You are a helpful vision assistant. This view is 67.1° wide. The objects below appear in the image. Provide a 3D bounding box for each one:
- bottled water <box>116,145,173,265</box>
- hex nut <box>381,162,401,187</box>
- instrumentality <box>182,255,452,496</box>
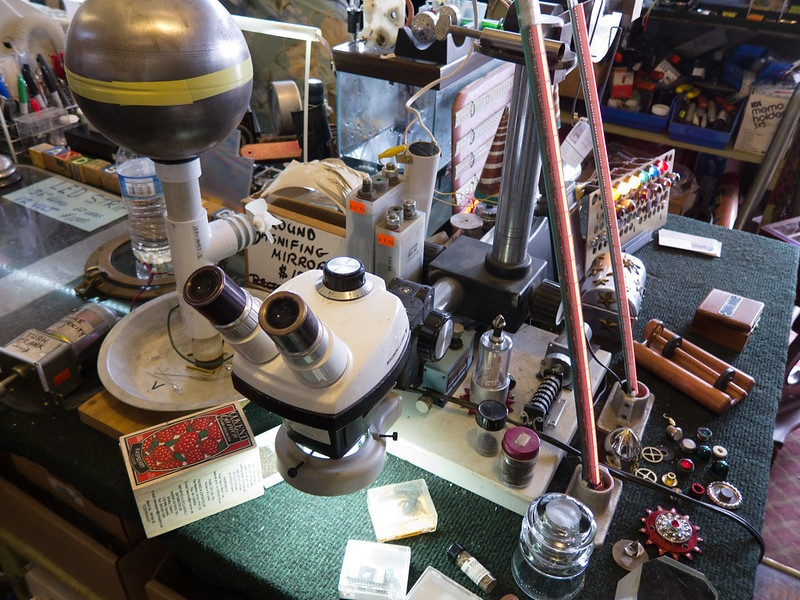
[{"bbox_3d":[-0.674,-0.240,1.577,0.095,0.246,0.302,-13,37,-23],"label":"bottled water"},{"bbox_3d":[-0.014,-0.278,1.339,0.050,0.055,0.050,3,43,3],"label":"hex nut"},{"bbox_3d":[-0.112,0.102,1.101,0.260,0.466,0.448,19,32,30],"label":"instrumentality"}]
